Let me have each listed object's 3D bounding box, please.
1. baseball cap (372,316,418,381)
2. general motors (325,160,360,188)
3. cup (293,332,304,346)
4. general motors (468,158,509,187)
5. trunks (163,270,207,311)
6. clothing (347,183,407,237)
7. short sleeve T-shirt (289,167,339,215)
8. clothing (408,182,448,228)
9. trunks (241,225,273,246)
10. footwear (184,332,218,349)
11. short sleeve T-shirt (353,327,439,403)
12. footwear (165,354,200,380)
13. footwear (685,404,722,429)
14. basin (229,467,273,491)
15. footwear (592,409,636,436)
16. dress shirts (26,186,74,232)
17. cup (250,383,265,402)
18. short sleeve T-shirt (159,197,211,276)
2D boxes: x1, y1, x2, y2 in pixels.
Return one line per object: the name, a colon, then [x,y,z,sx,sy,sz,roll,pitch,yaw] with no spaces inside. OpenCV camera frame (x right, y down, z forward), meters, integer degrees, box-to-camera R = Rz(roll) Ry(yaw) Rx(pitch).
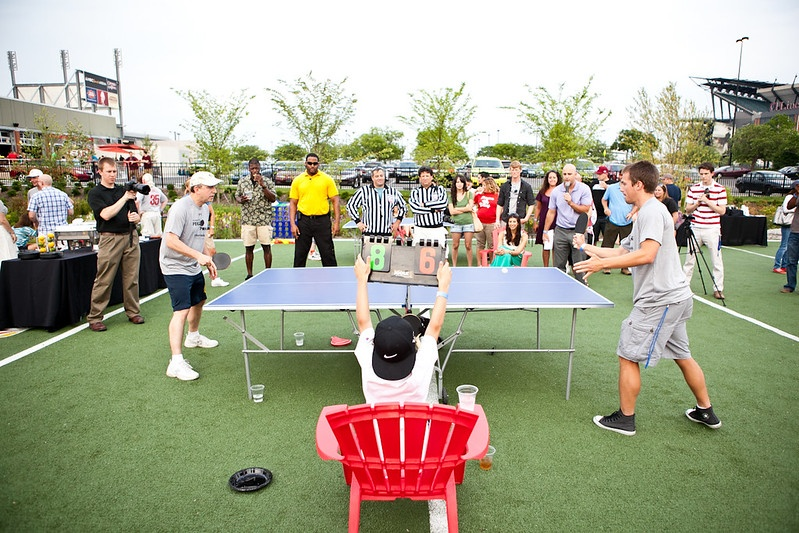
baseball cap: [-0.050,0.580,3.910,0.335,0.505,0.210,-8,-31,6]
general motors: [-2.475,-4.412,24.558,1.030,0.783,2.261,0,14,-1]
cup: [-1.282,0.932,6.697,0.155,0.144,0.156,1,13,0]
general motors: [4.706,-4.466,26.578,1.882,1.721,3.446,-1,14,-1]
trunks: [-2.424,0.276,6.026,0.241,0.451,0.441,6,13,31]
clothing: [-0.323,-0.905,8.384,1.023,0.842,0.396,-1,5,-14]
short sleeve T-shirt: [-1.393,-1.207,8.486,0.793,0.742,0.420,-1,11,-4]
clothing: [0.508,-1.063,9.157,0.678,0.768,0.429,-2,16,9]
trunks: [-2.636,-0.595,9.712,0.608,0.509,0.359,1,8,1]
footwear: [-2.541,0.921,6.775,0.477,0.224,0.178,-1,14,-16]
short sleeve T-shirt: [0.006,0.659,4.247,0.694,0.181,0.542,33,-14,25]
footwear: [-2.457,1.146,5.975,0.449,0.297,0.189,3,6,4]
footwear: [2.962,1.432,5.170,0.151,0.167,0.351,-9,15,-22]
basin: [-1.273,1.818,4.464,0.207,0.036,0.187,-3,15,-37]
footwear: [2.093,1.504,5.128,0.412,0.238,0.177,8,5,35]
dress shirts: [-5.432,-0.901,8.158,0.345,0.715,0.624,25,27,32]
cup: [-1.488,1.339,5.557,0.153,0.122,0.147,-1,2,0]
short sleeve T-shirt: [-2.426,-0.350,5.930,0.561,0.888,0.342,-7,13,-27]
